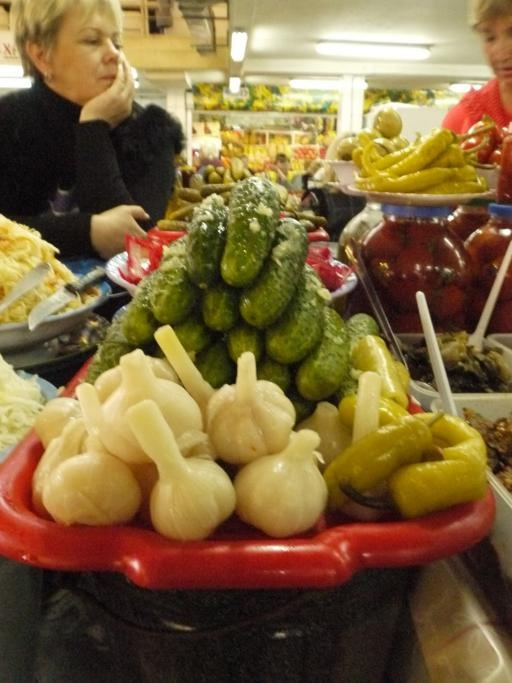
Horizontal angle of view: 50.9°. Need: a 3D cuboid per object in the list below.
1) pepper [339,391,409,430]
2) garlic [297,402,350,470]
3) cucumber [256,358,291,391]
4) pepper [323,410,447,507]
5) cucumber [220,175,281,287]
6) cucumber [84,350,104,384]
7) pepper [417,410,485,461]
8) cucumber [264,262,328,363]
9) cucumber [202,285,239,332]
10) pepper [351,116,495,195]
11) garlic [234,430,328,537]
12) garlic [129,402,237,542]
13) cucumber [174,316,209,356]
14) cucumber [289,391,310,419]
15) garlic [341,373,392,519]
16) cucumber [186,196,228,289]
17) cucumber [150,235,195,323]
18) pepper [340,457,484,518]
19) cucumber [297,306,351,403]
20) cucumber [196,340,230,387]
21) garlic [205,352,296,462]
[{"bbox_3d":[0.124,0.073,0.563,0.070,0.029,0.034,1,0,-28],"label":"pepper"},{"bbox_3d":[0.077,0.099,0.569,0.059,0.063,0.054,14,-16,-24],"label":"garlic"},{"bbox_3d":[0.022,0.036,0.599,0.035,0.040,0.034,0,7,3],"label":"cucumber"},{"bbox_3d":[0.151,0.109,0.530,0.153,0.049,0.049,-27,19,-5],"label":"pepper"},{"bbox_3d":[0.000,-0.119,0.615,0.056,0.047,0.123,24,63,-14],"label":"cucumber"},{"bbox_3d":[-0.196,0.029,0.655,0.011,0.027,0.039,23,57,-16],"label":"cucumber"},{"bbox_3d":[0.183,0.099,0.544,0.083,0.029,0.076,8,17,13],"label":"pepper"},{"bbox_3d":[0.054,-0.032,0.620,0.055,0.037,0.102,-2,59,34],"label":"cucumber"},{"bbox_3d":[-0.038,-0.035,0.582,0.038,0.038,0.048,10,60,-9],"label":"cucumber"},{"bbox_3d":[0.367,-0.423,1.209,0.297,0.123,0.448,5,31,7],"label":"pepper"},{"bbox_3d":[0.023,0.125,0.458,0.078,0.069,0.063,-8,33,-13],"label":"garlic"},{"bbox_3d":[-0.065,0.103,0.441,0.075,0.118,0.069,-17,13,9],"label":"garlic"},{"bbox_3d":[-0.070,-0.006,0.598,0.036,0.044,0.026,19,11,3],"label":"cucumber"},{"bbox_3d":[0.050,0.074,0.611,0.026,0.032,0.019,-14,-2,-26],"label":"cucumber"},{"bbox_3d":[0.106,0.100,0.525,0.031,0.038,0.139,-4,71,21],"label":"garlic"},{"bbox_3d":[-0.039,-0.111,0.591,0.049,0.033,0.095,-15,56,34],"label":"cucumber"},{"bbox_3d":[-0.099,-0.071,0.630,0.053,0.081,0.124,-6,32,-10],"label":"cucumber"},{"bbox_3d":[0.136,0.125,0.490,0.126,0.040,0.052,-11,16,-10],"label":"pepper"},{"bbox_3d":[0.080,0.014,0.648,0.061,0.040,0.110,12,54,11],"label":"cucumber"},{"bbox_3d":[-0.051,0.028,0.638,0.036,0.026,0.044,16,63,-7],"label":"cucumber"},{"bbox_3d":[-0.008,0.063,0.514,0.090,0.107,0.083,-5,3,-27],"label":"garlic"}]
